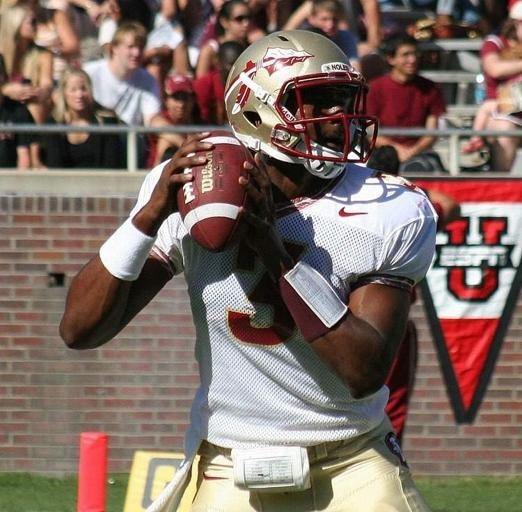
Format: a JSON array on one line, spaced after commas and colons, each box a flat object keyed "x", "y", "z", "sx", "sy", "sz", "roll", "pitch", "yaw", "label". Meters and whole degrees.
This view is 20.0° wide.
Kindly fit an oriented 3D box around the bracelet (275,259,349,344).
[{"x": 0.195, "y": 0.173, "z": 6.677, "sx": 0.463, "sy": 0.297, "sz": 0.565, "roll": -2, "pitch": 18, "yaw": -4, "label": "bracelet"}]

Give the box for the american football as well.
[{"x": -0.198, "y": -0.286, "z": 6.703, "sx": 0.300, "sy": 0.461, "sz": 0.317, "roll": 13, "pitch": 25, "yaw": 20, "label": "american football"}]
